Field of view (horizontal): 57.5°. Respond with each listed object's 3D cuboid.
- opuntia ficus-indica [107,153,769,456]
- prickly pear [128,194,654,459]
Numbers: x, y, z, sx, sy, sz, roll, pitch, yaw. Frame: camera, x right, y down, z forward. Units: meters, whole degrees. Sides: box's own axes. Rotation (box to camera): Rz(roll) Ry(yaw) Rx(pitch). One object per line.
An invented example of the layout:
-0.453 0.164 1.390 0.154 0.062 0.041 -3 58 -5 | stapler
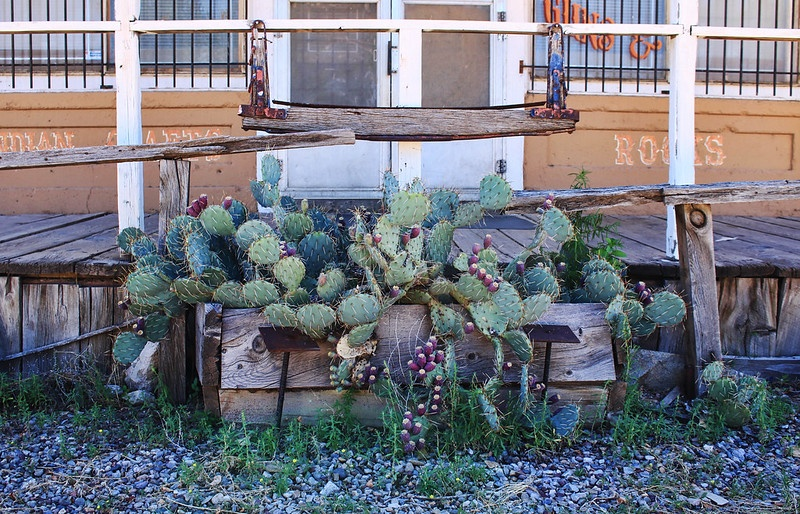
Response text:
-0.076 0.107 4.751 2.849 1.362 1.961 3 11 13 | opuntia ficus-indica
-0.026 0.355 4.550 3.110 1.508 0.769 0 5 4 | prickly pear
